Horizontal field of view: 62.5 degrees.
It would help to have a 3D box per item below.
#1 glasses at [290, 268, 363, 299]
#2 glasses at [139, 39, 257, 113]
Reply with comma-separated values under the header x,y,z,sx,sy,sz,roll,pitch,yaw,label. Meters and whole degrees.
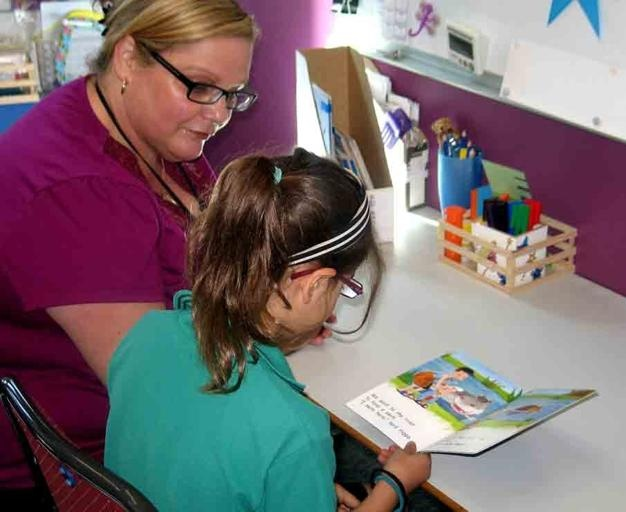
x,y,z,sx,sy,sz,roll,pitch,yaw,label
0.039,0.051,0.879,0.074,0.020,0.070,49,19,30,glasses
-0.218,-0.364,1.097,0.132,0.038,0.126,50,16,14,glasses
